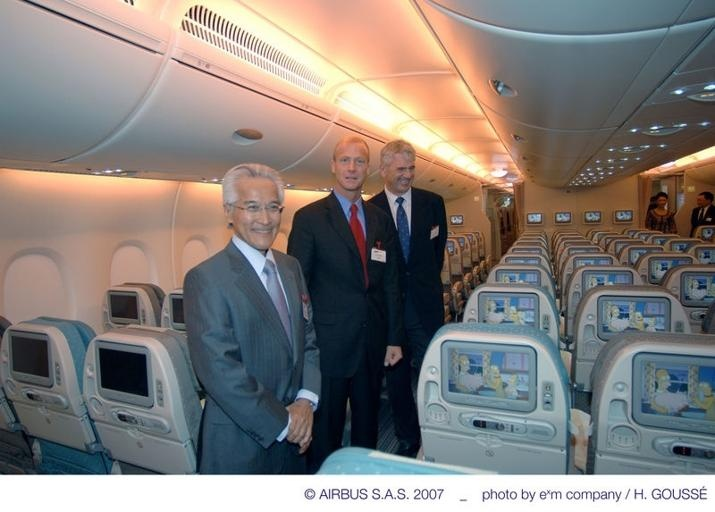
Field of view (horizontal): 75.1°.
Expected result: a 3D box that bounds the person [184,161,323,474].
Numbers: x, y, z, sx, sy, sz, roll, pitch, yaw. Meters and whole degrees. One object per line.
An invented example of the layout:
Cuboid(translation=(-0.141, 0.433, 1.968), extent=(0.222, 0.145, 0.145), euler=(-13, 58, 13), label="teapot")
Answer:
Cuboid(translation=(-0.536, 0.390, 2.483), extent=(0.745, 1.760, 0.416), euler=(1, -2, -22), label="person")
